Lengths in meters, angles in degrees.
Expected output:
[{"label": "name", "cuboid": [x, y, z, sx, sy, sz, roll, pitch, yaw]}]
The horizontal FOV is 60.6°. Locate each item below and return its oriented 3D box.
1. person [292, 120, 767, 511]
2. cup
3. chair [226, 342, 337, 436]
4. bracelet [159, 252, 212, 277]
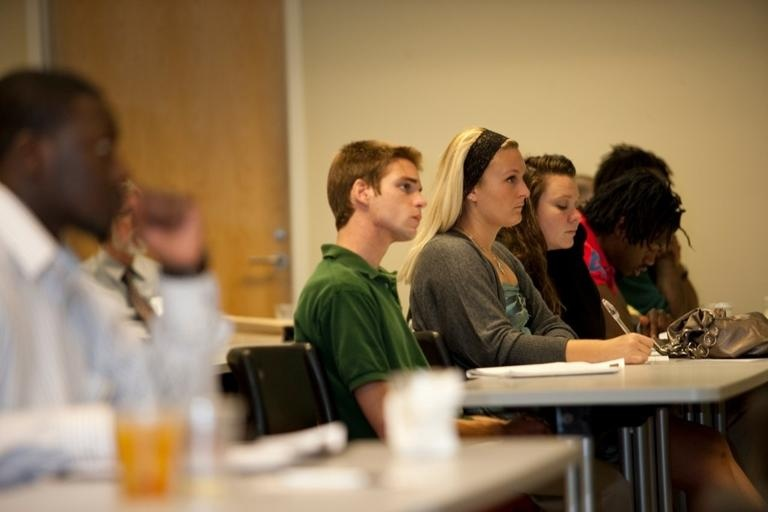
[{"label": "person", "cuboid": [0.180, 0.142, 2.003, 1.439, 1.149, 0.655, -6, -3, 17]}, {"label": "cup", "cuboid": [-0.173, 0.125, 0.453, 0.051, 0.075, 0.049, 8, -7, 1]}, {"label": "chair", "cuboid": [-0.161, 0.250, 1.217, 0.144, 0.193, 0.115, -11, 5, 10]}, {"label": "bracelet", "cuboid": [-0.108, 0.004, 0.356, 0.025, 0.013, 0.008, 0, -4, -14]}]
